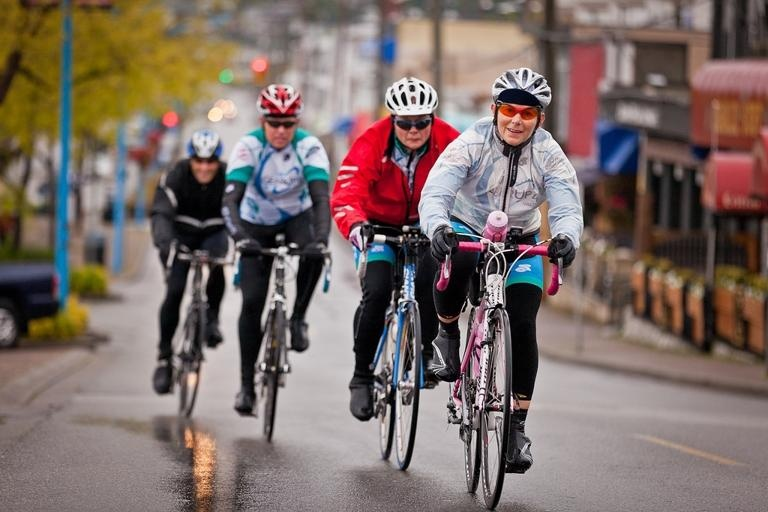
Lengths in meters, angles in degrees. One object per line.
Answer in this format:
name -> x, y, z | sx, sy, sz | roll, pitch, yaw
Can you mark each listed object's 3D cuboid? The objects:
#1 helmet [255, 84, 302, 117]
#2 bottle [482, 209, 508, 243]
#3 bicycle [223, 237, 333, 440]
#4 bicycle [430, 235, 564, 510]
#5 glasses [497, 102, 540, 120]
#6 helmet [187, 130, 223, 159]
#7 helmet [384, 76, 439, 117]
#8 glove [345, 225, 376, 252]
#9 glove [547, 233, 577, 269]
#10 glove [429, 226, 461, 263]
helmet -> -1.049, -1.617, 10.176 | 0.474, 0.298, 0.669 | -1, 19, -11
bottle -> 0.918, -0.241, 8.131 | 0.191, 0.249, 0.222 | 2, 4, 4
bicycle -> -1.135, 0.820, 10.533 | 0.858, 2.075, 1.452 | 1, 4, -10
bicycle -> 0.849, 0.923, 8.273 | 0.509, 2.270, 1.077 | 0, 4, -25
glasses -> 1.112, -1.180, 8.172 | 0.338, 0.136, 0.086 | 3, 4, 8
helmet -> -1.953, -1.230, 11.055 | 0.256, 0.251, 0.385 | -1, 4, -5
helmet -> 0.295, -1.472, 9.031 | 0.440, 0.279, 0.679 | -2, 18, 12
glove -> -0.214, -0.171, 8.822 | 0.160, 0.247, 0.282 | 0, 4, -24
glove -> 1.418, -0.041, 7.903 | 0.188, 0.274, 0.098 | 6, 1, 40
glove -> 0.485, -0.104, 7.953 | 0.214, 0.289, 0.139 | 6, 5, 45
